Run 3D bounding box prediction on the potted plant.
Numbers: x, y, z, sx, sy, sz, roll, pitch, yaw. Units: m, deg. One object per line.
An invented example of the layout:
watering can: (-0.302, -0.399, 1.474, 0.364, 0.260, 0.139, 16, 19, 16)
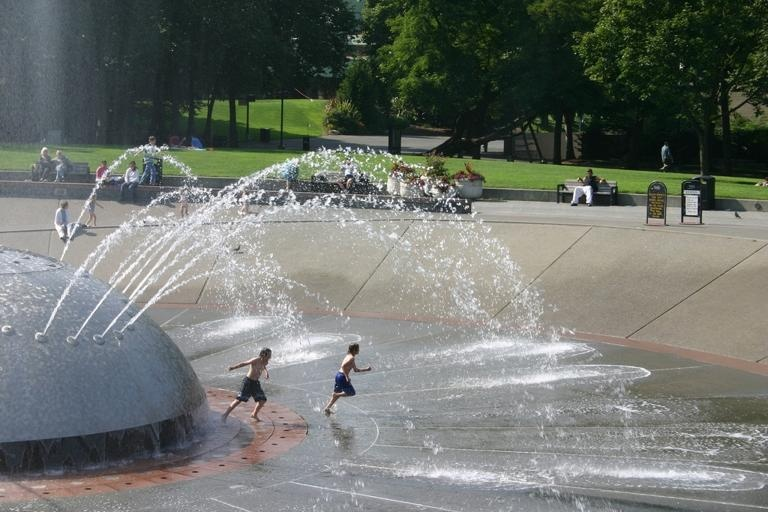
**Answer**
potted plant: (2.145, -3.291, 52.884, 3.826, 1.755, 2.805, -2, 6, -40)
